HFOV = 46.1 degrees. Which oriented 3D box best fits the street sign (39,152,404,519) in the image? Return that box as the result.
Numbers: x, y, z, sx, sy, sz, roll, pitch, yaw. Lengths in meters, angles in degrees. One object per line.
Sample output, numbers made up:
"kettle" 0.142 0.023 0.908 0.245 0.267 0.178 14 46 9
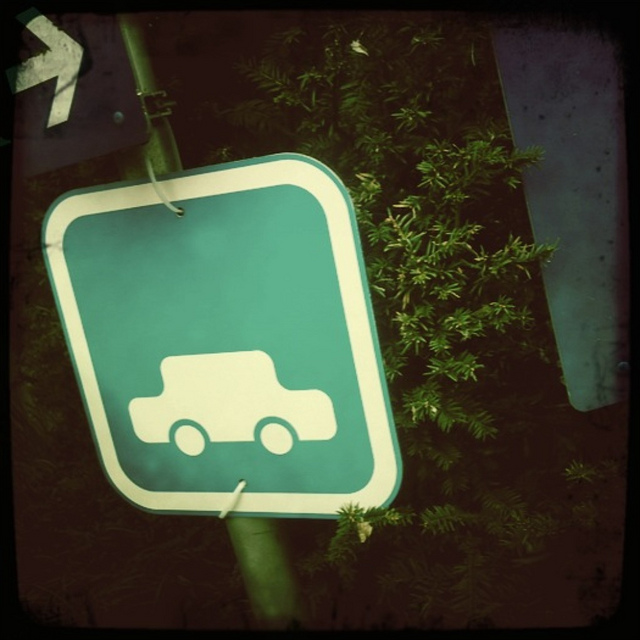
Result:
"street sign" -0.136 0.002 1.176 0.610 0.046 0.572 -13 -72 14
